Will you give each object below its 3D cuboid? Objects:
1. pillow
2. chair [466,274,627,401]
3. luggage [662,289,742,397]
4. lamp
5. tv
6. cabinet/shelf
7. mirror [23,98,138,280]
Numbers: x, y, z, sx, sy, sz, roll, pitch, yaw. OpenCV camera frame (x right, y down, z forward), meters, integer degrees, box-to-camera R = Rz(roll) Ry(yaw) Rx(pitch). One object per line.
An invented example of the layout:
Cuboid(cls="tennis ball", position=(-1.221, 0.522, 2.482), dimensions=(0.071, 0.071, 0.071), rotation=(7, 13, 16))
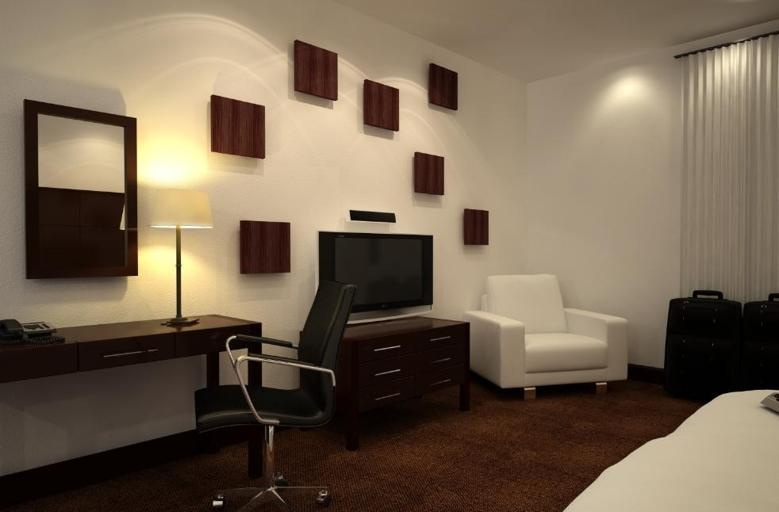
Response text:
Cuboid(cls="pillow", position=(1.480, 0.516, 6.056), dimensions=(0.712, 0.706, 0.667), rotation=(0, -6, -17))
Cuboid(cls="chair", position=(1.631, 0.788, 5.841), dimensions=(1.523, 1.094, 1.154), rotation=(0, 2, -7))
Cuboid(cls="luggage", position=(3.122, 0.905, 5.413), dimensions=(0.639, 1.038, 0.536), rotation=(2, 5, 39))
Cuboid(cls="lamp", position=(-1.589, -0.007, 4.226), dimensions=(0.453, 1.025, 0.545), rotation=(-5, 12, -20))
Cuboid(cls="tv", position=(-0.161, 0.199, 4.976), dimensions=(0.873, 0.632, 0.084), rotation=(-1, 3, -38))
Cuboid(cls="cabinet/shelf", position=(0.030, 1.084, 5.127), dimensions=(1.358, 0.916, 0.785), rotation=(-4, 5, -33))
Cuboid(cls="mirror", position=(-2.271, -0.451, 4.035), dimensions=(0.741, 1.308, 0.031), rotation=(0, 13, -33))
